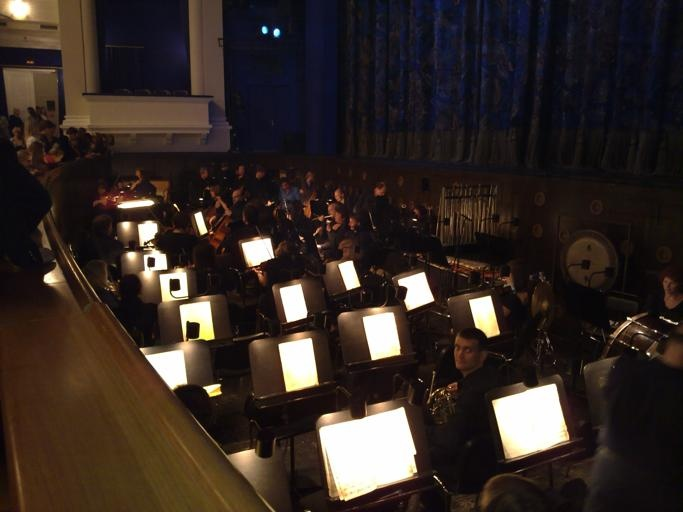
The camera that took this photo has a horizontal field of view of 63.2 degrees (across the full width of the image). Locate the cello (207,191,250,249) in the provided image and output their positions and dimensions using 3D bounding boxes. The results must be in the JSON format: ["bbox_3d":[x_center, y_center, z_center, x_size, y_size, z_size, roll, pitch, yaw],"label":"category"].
[{"bbox_3d":[-1.904,-0.592,9.283,0.675,1.309,0.639,-5,15,-19],"label":"cello"}]
